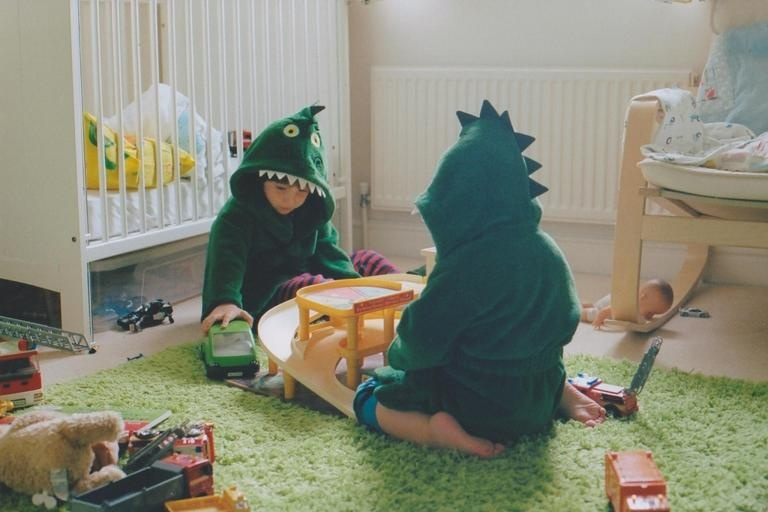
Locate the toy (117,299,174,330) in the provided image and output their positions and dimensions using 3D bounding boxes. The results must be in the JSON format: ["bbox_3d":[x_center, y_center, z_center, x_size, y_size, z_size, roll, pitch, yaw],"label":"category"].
[{"bbox_3d":[-0.888,0.229,2.483,0.171,0.087,0.097,-17,25,-36],"label":"toy"}]

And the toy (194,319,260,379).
[{"bbox_3d":[-0.498,0.286,2.168,0.174,0.157,0.306,-3,14,-13],"label":"toy"}]

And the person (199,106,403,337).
[{"bbox_3d":[-0.357,-0.090,2.528,0.617,0.848,0.992,7,9,41],"label":"person"}]

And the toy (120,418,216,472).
[{"bbox_3d":[-0.516,0.448,1.600,0.156,0.063,0.122,-7,8,-16],"label":"toy"}]

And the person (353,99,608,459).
[{"bbox_3d":[0.246,0.047,1.840,0.686,0.843,0.526,-7,7,-34],"label":"person"}]

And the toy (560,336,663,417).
[{"bbox_3d":[0.653,0.343,1.925,0.108,0.234,0.288,6,-2,-35],"label":"toy"}]
